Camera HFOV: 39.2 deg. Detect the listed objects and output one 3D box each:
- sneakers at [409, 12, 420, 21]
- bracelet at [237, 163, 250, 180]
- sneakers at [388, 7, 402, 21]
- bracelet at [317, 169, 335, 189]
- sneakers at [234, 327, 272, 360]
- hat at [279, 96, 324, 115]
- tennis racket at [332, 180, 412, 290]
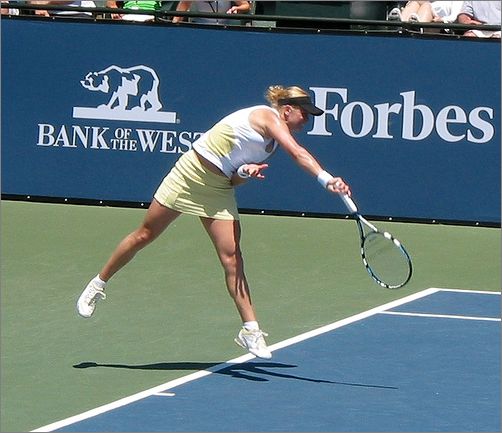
[{"bbox_3d":[2.270,-2.760,9.739,0.162,0.121,0.491,5,14,12],"label":"sneakers"},{"bbox_3d":[-0.045,-0.297,4.794,0.086,0.075,0.085,18,-25,-18],"label":"bracelet"},{"bbox_3d":[2.057,-2.890,10.050,0.187,0.174,0.499,4,14,9],"label":"sneakers"},{"bbox_3d":[0.510,-0.247,4.609,0.111,0.109,0.034,38,44,15],"label":"bracelet"},{"bbox_3d":[0.040,0.880,4.934,0.125,0.150,0.365,17,8,-44],"label":"sneakers"},{"bbox_3d":[0.358,-0.766,4.820,0.244,0.072,0.140,11,7,16],"label":"hat"},{"bbox_3d":[1.331,0.197,7.598,1.390,0.453,0.077,58,10,34],"label":"tennis racket"}]
